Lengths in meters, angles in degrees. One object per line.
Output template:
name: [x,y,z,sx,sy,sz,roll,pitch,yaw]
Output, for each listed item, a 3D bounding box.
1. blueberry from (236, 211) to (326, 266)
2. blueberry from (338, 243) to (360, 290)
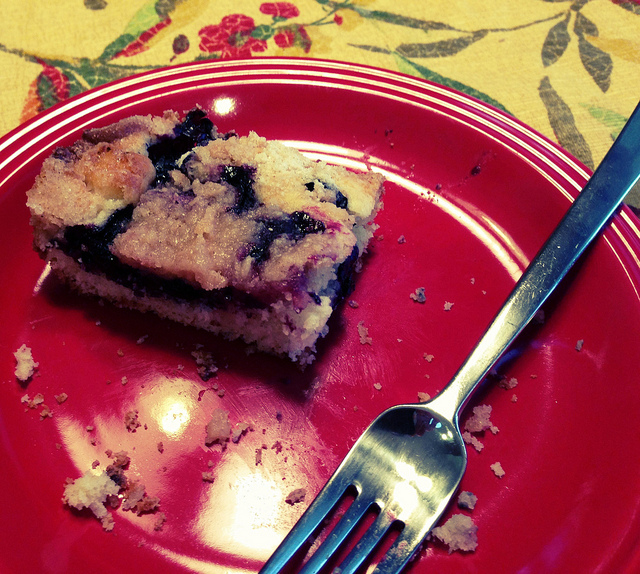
blueberry: [-0.142,-0.180,2.918,0.256,0.075,0.172,-19,67,-5]
blueberry: [0.091,-0.077,3.066,0.080,0.032,0.149,20,87,-43]
